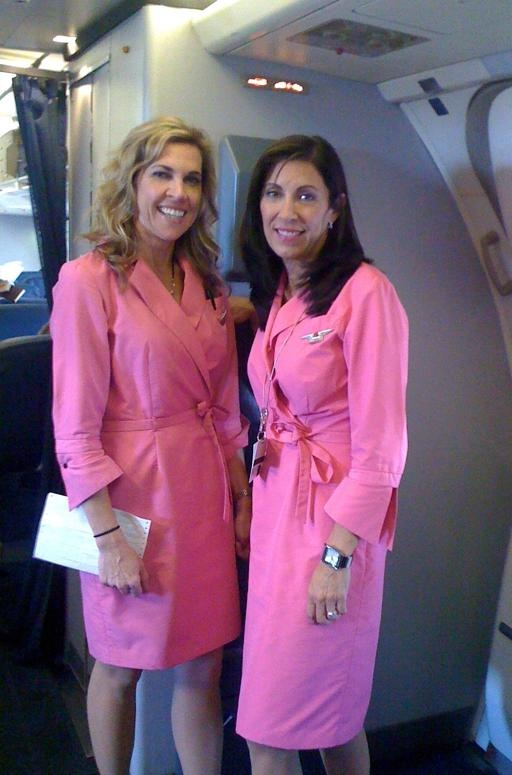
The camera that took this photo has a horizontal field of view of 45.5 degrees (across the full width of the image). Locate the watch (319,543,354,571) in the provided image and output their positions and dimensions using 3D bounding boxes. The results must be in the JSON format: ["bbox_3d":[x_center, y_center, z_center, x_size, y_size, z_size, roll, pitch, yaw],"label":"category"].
[{"bbox_3d":[0.130,0.278,1.001,0.050,0.031,0.049,5,5,-8],"label":"watch"}]
